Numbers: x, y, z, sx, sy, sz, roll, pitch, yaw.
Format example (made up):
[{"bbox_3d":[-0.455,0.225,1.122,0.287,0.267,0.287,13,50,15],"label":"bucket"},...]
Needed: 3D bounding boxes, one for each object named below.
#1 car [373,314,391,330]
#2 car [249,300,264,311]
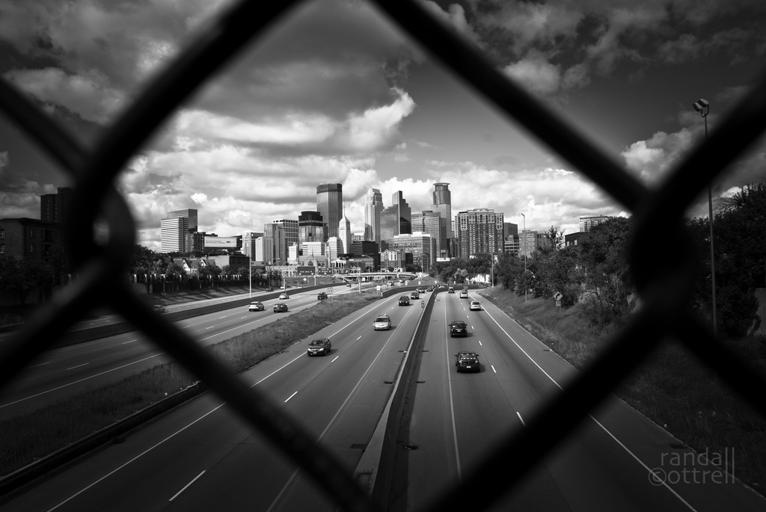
[{"bbox_3d":[0.059,4.381,36.926,1.064,0.701,1.660,-1,2,3],"label":"car"},{"bbox_3d":[-10.162,4.038,46.432,0.744,0.711,1.780,-1,-4,2],"label":"car"}]
